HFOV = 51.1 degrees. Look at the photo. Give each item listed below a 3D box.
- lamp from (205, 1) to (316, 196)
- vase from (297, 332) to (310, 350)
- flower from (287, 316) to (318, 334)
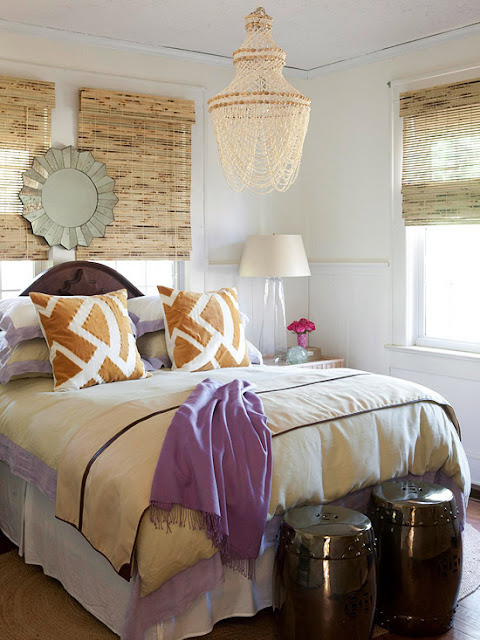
[{"bbox_3d":[0.146,-1.181,2.579,0.414,1.083,1.439,2,6,7],"label":"lamp"},{"bbox_3d":[0.488,0.157,3.930,0.105,0.126,0.108,0,0,19],"label":"vase"},{"bbox_3d":[0.481,0.048,3.863,0.150,0.077,0.147,5,-4,-35],"label":"flower"}]
